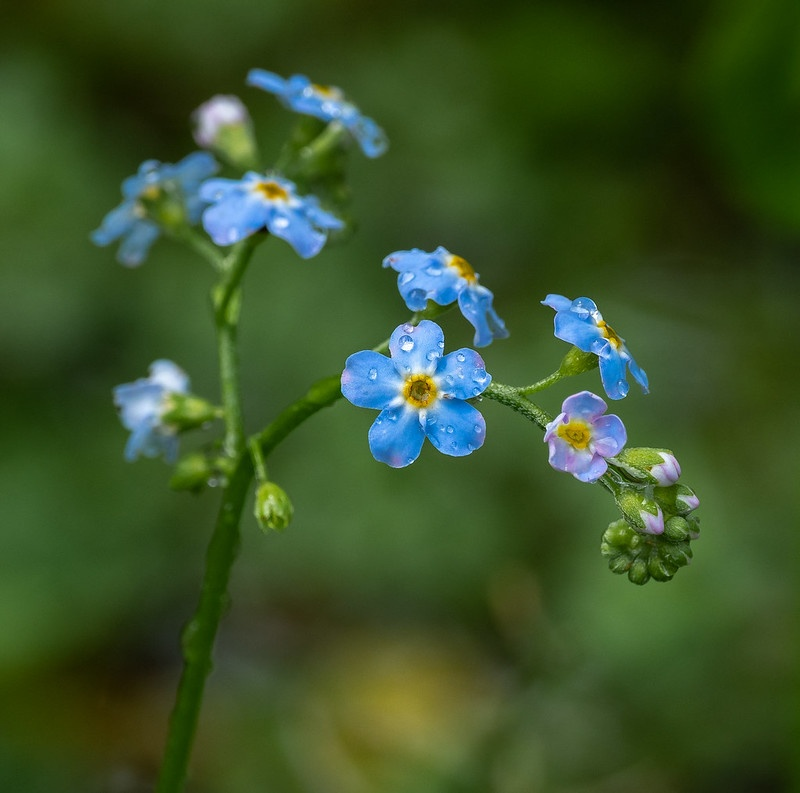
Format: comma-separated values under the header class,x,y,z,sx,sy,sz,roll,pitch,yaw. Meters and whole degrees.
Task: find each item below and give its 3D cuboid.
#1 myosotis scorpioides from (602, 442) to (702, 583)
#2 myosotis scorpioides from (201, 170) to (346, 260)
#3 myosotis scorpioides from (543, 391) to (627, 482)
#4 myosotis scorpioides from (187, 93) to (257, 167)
class,x,y,z,sx,sy,sz,roll,pitch,yaw
myosotis scorpioides,0.612,0.324,2.178,0.146,0.316,0.260,-25,34,29
myosotis scorpioides,-0.324,-0.465,2.169,0.343,0.132,0.351,-11,45,-11
myosotis scorpioides,0.428,0.058,2.002,0.238,0.101,0.213,-18,19,5
myosotis scorpioides,-0.492,-0.735,2.388,0.163,0.148,0.186,-10,44,-11
